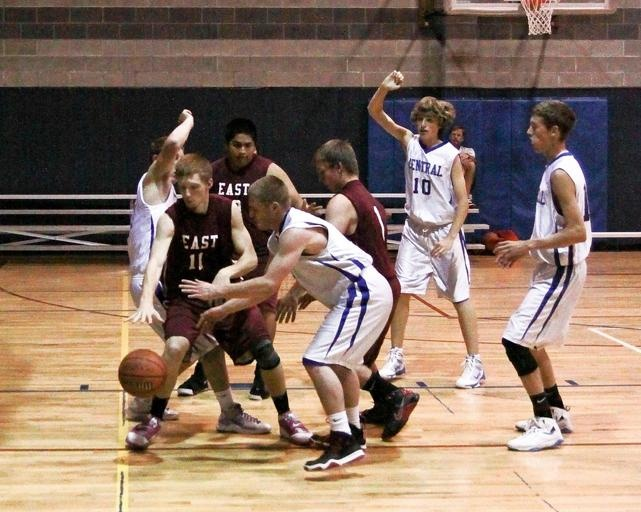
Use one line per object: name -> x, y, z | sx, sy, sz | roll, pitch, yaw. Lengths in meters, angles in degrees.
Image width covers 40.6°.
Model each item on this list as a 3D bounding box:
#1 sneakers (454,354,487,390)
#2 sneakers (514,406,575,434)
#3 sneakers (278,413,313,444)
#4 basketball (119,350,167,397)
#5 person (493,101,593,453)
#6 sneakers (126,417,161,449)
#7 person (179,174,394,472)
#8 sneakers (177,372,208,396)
sneakers -> 1.170, 0.905, 6.782 | 0.169, 0.220, 0.270 | 6, 12, 24
sneakers -> 1.521, 1.124, 5.912 | 0.487, 0.203, 0.155 | -1, -5, -4
sneakers -> -0.200, 1.162, 5.849 | 0.123, 0.131, 0.323 | -3, 5, -32
basketball -> -1.121, 0.754, 5.534 | 0.354, 0.317, 0.337 | 1, -1, 10
person -> 1.465, 0.114, 5.754 | 0.577, 2.252, 0.763 | 4, 12, 16
sneakers -> -1.149, 1.156, 5.688 | 0.121, 0.120, 0.297 | 31, 11, 2
person -> -0.090, 0.407, 5.523 | 0.964, 1.805, 0.584 | 4, 12, 15
sneakers -> -0.983, 1.005, 6.640 | 0.119, 0.122, 0.282 | 4, -6, 30
